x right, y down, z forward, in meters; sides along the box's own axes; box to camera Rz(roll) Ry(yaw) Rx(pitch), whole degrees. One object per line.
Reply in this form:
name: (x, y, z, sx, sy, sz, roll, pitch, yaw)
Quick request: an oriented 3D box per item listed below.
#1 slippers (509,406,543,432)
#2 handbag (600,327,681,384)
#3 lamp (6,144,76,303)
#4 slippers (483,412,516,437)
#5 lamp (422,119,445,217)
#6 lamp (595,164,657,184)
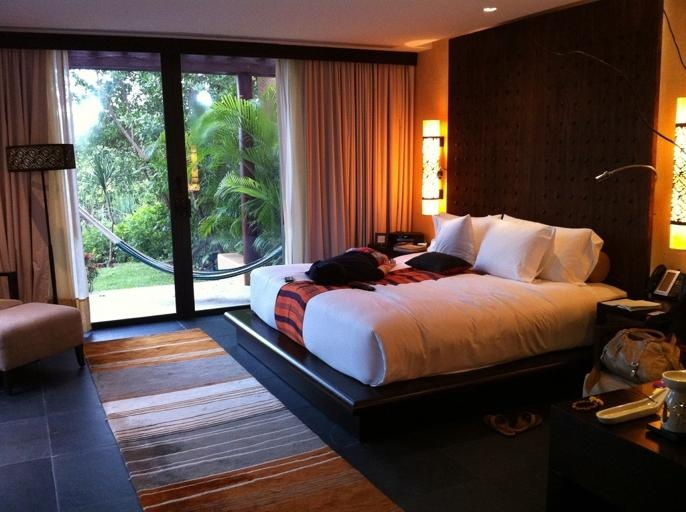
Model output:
slippers: (1.287, 1.118, 3.494, 0.197, 0.064, 0.402, 4, 13, 21)
handbag: (1.959, 0.646, 3.315, 0.358, 0.274, 0.373, 5, 0, 1)
lamp: (-2.901, -0.322, 5.030, 0.570, 1.569, 0.503, -9, 14, -33)
slippers: (1.064, 1.139, 3.408, 0.117, 0.061, 0.224, -8, 14, -31)
lamp: (1.092, -1.044, 6.066, 0.283, 1.151, 0.280, 1, 12, 10)
lamp: (2.246, -0.641, 3.997, 0.427, 0.179, 0.824, 5, 14, 28)
